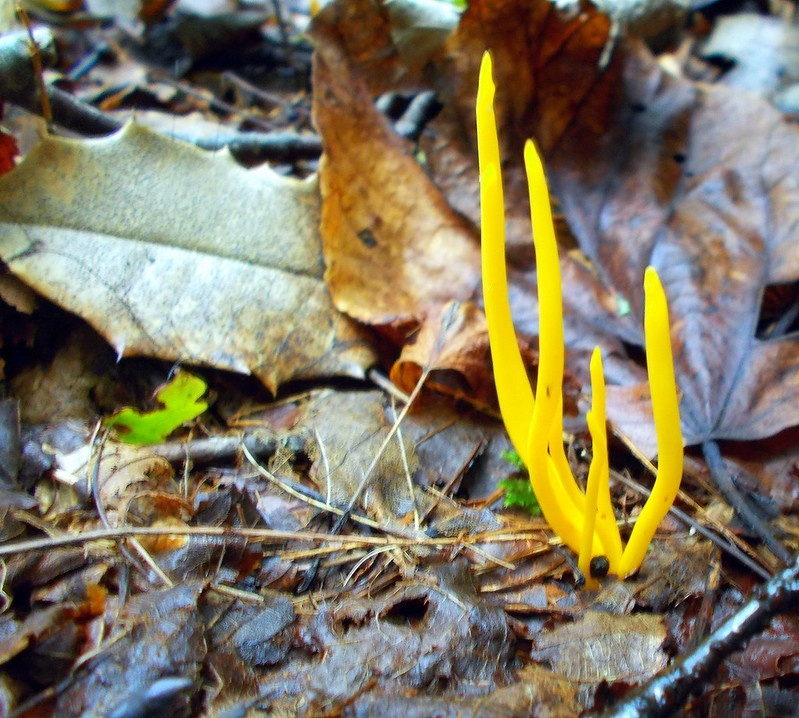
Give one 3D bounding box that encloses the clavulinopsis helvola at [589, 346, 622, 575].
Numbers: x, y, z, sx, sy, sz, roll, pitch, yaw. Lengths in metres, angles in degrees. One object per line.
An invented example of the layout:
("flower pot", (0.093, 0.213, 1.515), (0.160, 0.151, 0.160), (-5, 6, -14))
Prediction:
("clavulinopsis helvola", (0.208, 0.112, 0.914), (0.041, 0.249, 0.032), (-1, 6, -11))
